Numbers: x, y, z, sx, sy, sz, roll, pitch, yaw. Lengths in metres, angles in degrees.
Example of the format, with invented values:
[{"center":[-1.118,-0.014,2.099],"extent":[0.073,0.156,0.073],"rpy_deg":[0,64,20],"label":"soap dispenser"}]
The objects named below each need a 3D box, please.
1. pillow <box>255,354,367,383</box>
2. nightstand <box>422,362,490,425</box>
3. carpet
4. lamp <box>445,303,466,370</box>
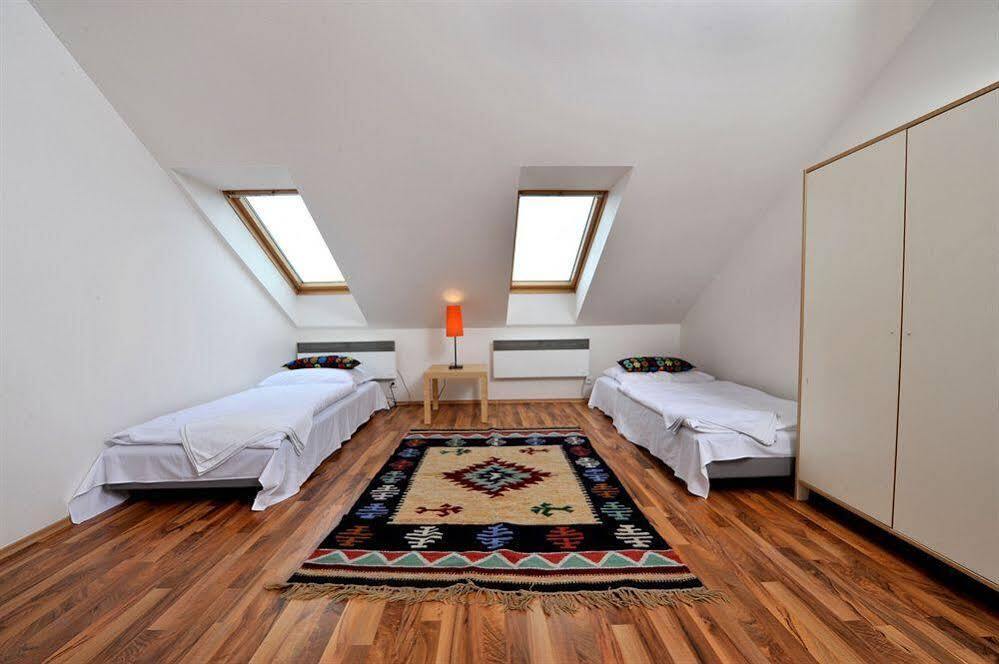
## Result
[{"center":[-1.946,0.439,6.106],"extent":[0.957,0.224,0.691],"rpy_deg":[-2,11,-5],"label":"pillow"},{"center":[-0.469,0.692,6.425],"extent":[0.656,0.474,0.668],"rpy_deg":[0,2,0],"label":"nightstand"},{"center":[-0.028,1.343,4.248],"extent":[2.447,0.231,1.845],"rpy_deg":[0,11,4],"label":"carpet"},{"center":[-0.496,0.051,6.511],"extent":[0.213,0.768,0.640],"rpy_deg":[-2,12,-4],"label":"lamp"}]
